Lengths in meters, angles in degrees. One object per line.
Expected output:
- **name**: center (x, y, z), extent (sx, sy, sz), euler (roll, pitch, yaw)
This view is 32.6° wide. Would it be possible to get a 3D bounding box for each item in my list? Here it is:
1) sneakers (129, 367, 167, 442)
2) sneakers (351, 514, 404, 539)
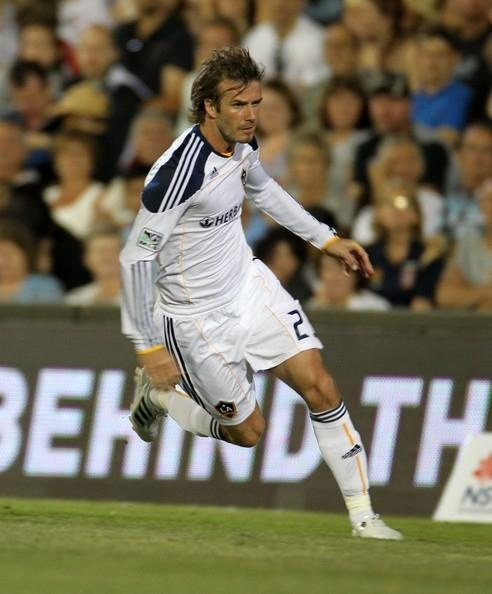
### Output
- **sneakers**: center (-0.540, 0.614, 4.601), extent (0.251, 0.432, 0.162), euler (16, 44, 22)
- **sneakers**: center (0.589, 1.044, 3.821), extent (0.222, 0.074, 0.104), euler (-5, -9, 35)
